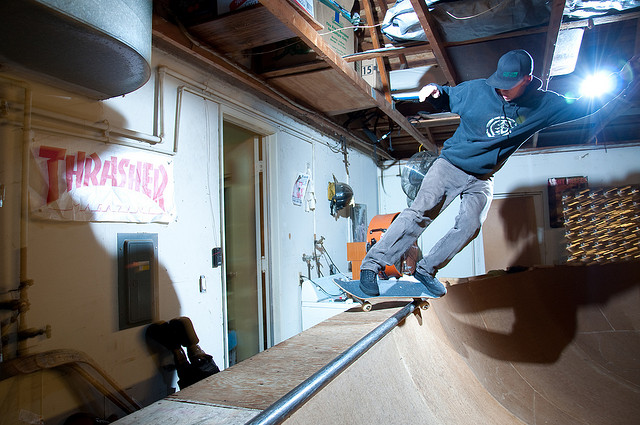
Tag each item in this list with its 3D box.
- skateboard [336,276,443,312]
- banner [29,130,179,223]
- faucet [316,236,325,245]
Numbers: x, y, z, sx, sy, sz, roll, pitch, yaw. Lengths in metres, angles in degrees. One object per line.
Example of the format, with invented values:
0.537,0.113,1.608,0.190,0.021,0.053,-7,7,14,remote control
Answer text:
0.585,0.748,3.474,0.873,0.153,0.360,3,19,-12,skateboard
-1.900,-0.314,3.491,0.065,0.491,0.877,-8,-9,35,banner
0.008,0.429,6.360,0.043,0.112,0.213,-6,-2,29,faucet
